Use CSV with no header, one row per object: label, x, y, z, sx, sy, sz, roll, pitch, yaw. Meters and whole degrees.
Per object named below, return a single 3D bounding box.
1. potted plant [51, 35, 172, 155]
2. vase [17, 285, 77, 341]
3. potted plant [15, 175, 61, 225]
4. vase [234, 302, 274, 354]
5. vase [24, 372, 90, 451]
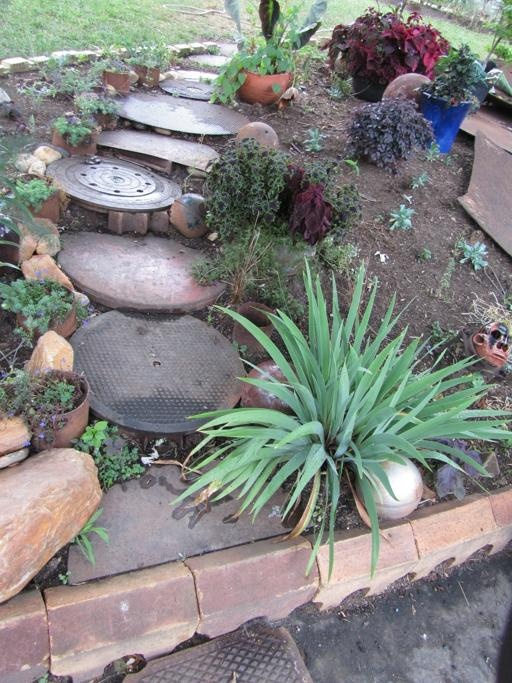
potted plant,-1.178,-2.084,4.298,0.785,0.305,1.985,4,43,-11
vase,-1.085,-0.138,2.683,0.289,0.185,0.239,25,82,-10
potted plant,-1.259,-0.819,3.025,0.222,0.266,0.316,-8,47,-23
vase,-0.013,-0.092,2.940,0.207,0.382,0.226,10,43,-6
vase,-0.873,0.322,2.278,0.222,0.220,0.197,15,28,-23
